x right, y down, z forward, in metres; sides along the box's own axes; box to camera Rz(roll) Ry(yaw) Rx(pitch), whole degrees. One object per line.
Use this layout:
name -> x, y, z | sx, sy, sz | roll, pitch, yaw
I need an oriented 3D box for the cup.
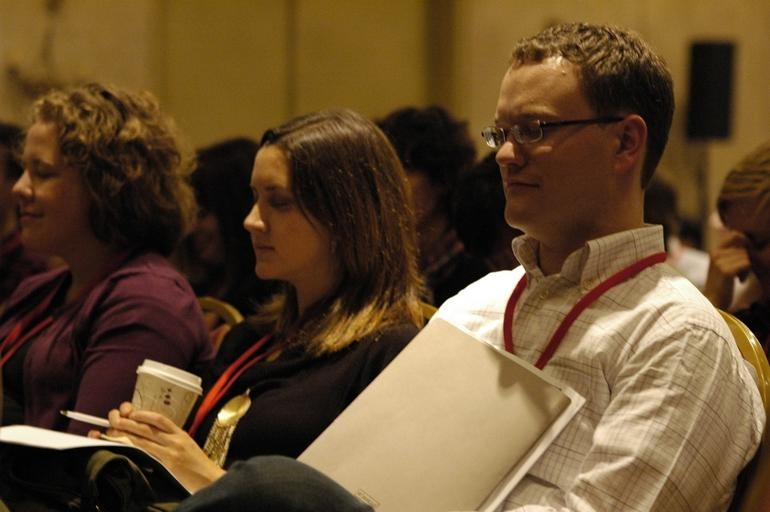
cup -> -0.609, 0.347, 2.265 | 0.177, 0.152, 0.177 | 24, -10, 5
